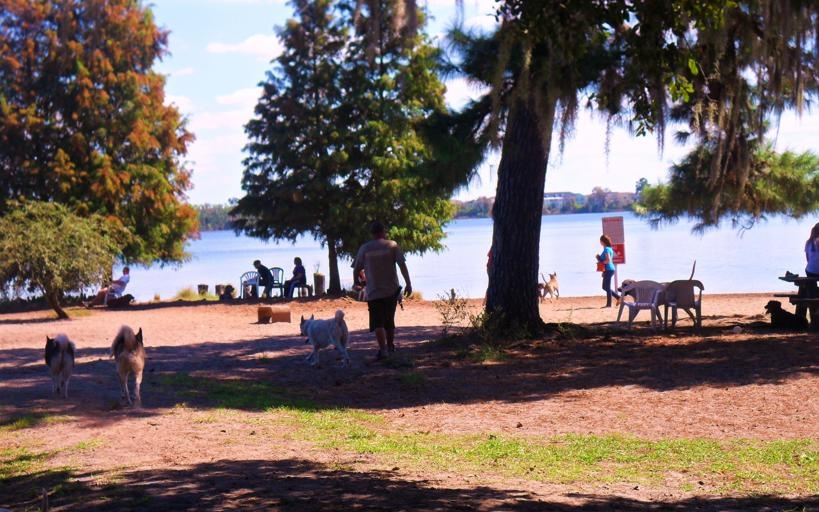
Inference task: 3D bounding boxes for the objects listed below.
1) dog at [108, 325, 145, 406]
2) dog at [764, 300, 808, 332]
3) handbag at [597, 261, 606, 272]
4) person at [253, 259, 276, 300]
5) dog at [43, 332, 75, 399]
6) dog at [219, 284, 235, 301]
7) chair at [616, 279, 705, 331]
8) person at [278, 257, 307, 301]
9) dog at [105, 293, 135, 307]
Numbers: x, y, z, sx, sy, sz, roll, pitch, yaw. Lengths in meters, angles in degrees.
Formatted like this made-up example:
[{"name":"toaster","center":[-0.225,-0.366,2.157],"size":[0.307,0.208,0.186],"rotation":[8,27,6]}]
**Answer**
[{"name":"dog","center":[-6.741,2.578,25.675],"size":[0.682,1.736,0.848],"rotation":[-1,1,-17]},{"name":"dog","center":[10.955,1.753,31.044],"size":[0.433,0.703,1.319],"rotation":[-5,16,-27]},{"name":"handbag","center":[6.949,0.340,37.918],"size":[0.378,0.413,0.320],"rotation":[2,-3,-30]},{"name":"person","center":[-6.011,0.899,44.640],"size":[0.741,1.298,1.126],"rotation":[-1,0,-6]},{"name":"dog","center":[-8.496,2.599,26.073],"size":[0.642,1.408,1.029],"rotation":[-1,1,-19]},{"name":"dog","center":[-7.641,1.496,45.125],"size":[0.427,0.610,1.176],"rotation":[1,-1,-9]},{"name":"chair","center":[7.619,1.391,32.219],"size":[2.333,1.415,1.570],"rotation":[-1,0,3]},{"name":"person","center":[-4.686,0.806,43.870],"size":[0.855,1.341,0.844],"rotation":[-1,1,-3]},{"name":"dog","center":[-11.469,1.739,42.557],"size":[1.161,0.584,0.390],"rotation":[-4,12,-18]}]
